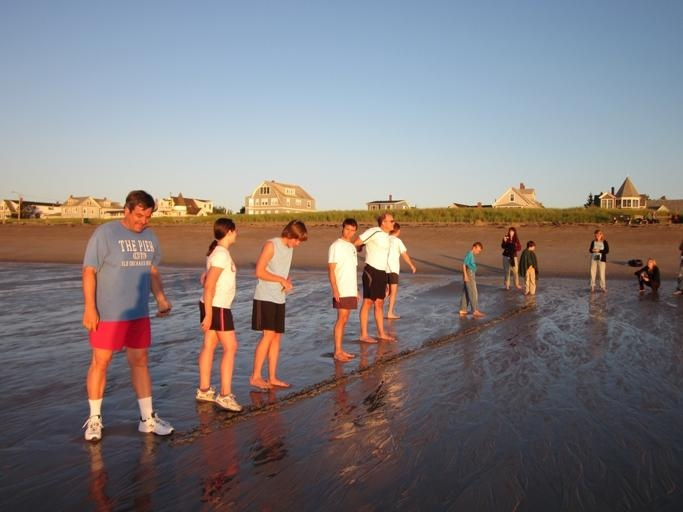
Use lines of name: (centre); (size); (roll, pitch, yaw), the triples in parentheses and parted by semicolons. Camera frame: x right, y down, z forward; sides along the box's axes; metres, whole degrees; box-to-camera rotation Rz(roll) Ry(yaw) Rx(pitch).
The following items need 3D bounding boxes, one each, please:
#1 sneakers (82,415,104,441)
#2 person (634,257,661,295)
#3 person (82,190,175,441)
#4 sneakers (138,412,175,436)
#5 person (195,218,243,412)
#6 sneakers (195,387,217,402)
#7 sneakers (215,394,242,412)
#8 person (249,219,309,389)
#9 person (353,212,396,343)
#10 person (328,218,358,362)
sneakers: (-2.858, 1.938, 5.540); (0.180, 0.160, 0.364); (3, -8, -27)
person: (10.262, 0.654, 16.164); (0.714, 1.123, 0.688); (-4, 6, -38)
person: (-2.458, 0.651, 5.525); (0.972, 2.742, 0.989); (-3, 5, -29)
sneakers: (-2.135, 1.910, 5.593); (0.494, 0.232, 0.185); (3, 2, 13)
person: (-1.703, 0.707, 6.579); (0.569, 2.429, 1.308); (-2, 5, -15)
sneakers: (-1.799, 1.843, 6.487); (0.292, 0.137, 0.124); (1, 5, -10)
sneakers: (-1.443, 1.857, 6.249); (0.391, 0.194, 0.158); (7, -1, 13)
person: (-0.928, 0.693, 6.894); (0.740, 2.393, 0.521); (-2, 5, -15)
person: (0.702, 0.416, 9.720); (0.717, 2.523, 0.859); (2, 5, 25)
person: (0.050, 0.530, 8.841); (0.523, 2.426, 1.429); (0, 5, 0)
